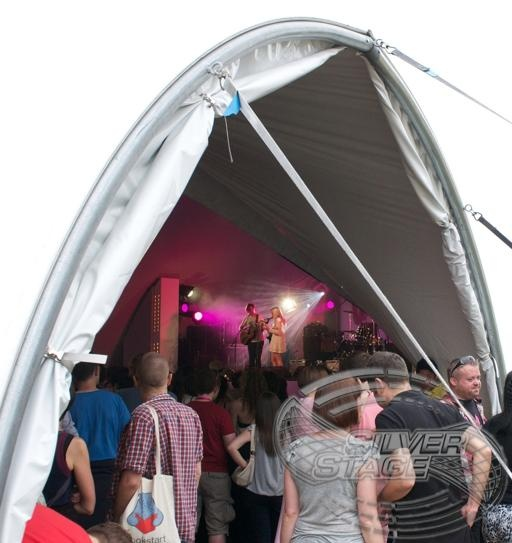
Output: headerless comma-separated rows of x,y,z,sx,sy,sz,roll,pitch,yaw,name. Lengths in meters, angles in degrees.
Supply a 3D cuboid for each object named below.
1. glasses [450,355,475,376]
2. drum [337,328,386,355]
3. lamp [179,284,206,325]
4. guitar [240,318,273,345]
1.223,0.622,3.074,0.141,0.153,0.045,6,2,-23,glasses
1.923,1.465,9.466,0.882,0.636,0.622,-9,-21,13,drum
-1.315,0.807,10.428,0.499,0.709,0.757,-1,-21,-9,lamp
-0.039,1.385,10.229,0.423,0.344,0.624,6,-35,-8,guitar
